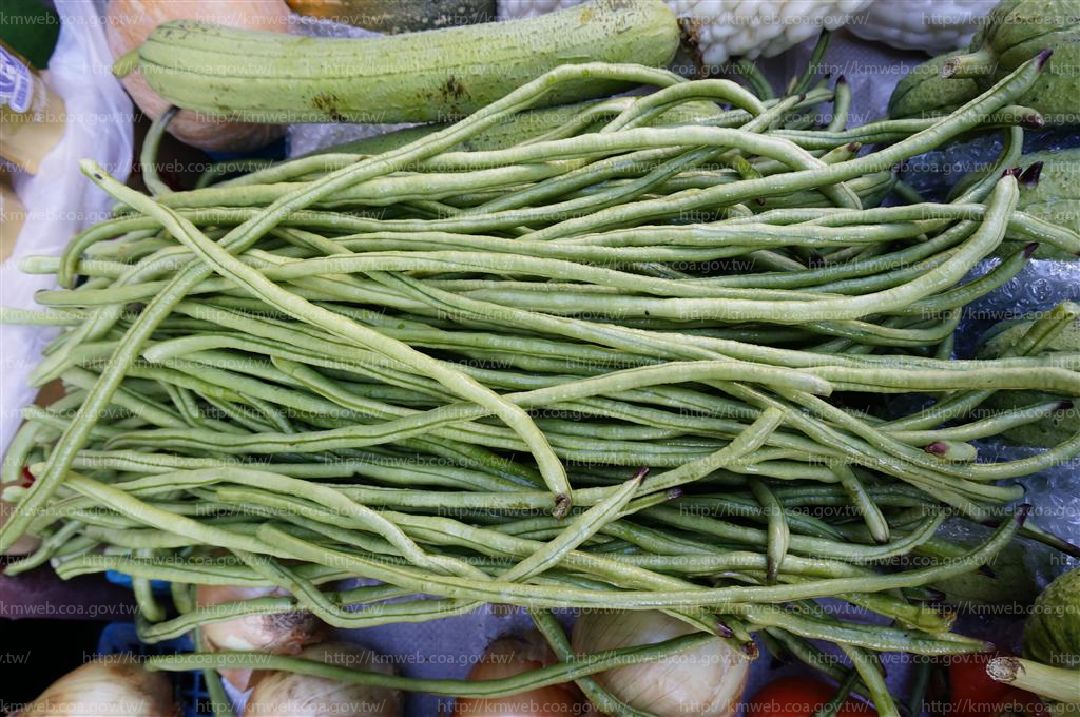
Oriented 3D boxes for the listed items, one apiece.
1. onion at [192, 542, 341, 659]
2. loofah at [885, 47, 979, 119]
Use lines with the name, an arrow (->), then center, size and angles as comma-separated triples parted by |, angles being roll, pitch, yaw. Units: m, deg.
onion -> -0.512, 0.435, 1.949 | 0.218, 0.164, 0.164 | 9, 96, -31
loofah -> 0.685, -0.475, 1.844 | 0.179, 0.066, 0.078 | -15, 78, 38
